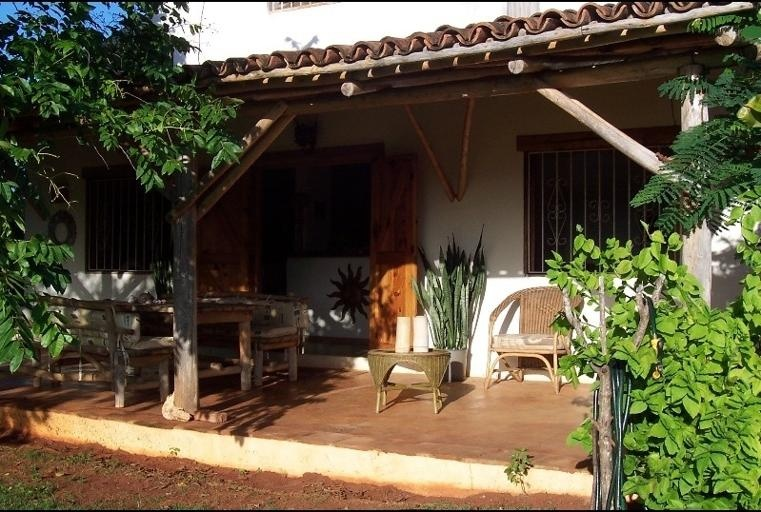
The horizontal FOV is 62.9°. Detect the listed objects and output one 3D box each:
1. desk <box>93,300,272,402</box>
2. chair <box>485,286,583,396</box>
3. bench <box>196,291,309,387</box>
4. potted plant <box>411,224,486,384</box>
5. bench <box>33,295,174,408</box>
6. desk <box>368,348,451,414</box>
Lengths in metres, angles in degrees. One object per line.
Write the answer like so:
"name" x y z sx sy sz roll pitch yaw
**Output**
"desk" -2.181 0.951 7.384 1.401 0.795 1.358 -1 -12 4
"chair" 1.872 1.056 7.928 0.985 1.283 1.114 0 8 12
"bench" -1.828 1.080 8.161 1.433 1.074 0.959 1 0 24
"potted plant" 0.965 0.644 8.522 0.975 1.999 0.842 0 8 11
"bench" -3.401 1.088 7.569 2.415 1.137 0.901 -2 -3 38
"desk" 0.357 1.359 7.332 0.857 0.850 1.594 -1 8 4
